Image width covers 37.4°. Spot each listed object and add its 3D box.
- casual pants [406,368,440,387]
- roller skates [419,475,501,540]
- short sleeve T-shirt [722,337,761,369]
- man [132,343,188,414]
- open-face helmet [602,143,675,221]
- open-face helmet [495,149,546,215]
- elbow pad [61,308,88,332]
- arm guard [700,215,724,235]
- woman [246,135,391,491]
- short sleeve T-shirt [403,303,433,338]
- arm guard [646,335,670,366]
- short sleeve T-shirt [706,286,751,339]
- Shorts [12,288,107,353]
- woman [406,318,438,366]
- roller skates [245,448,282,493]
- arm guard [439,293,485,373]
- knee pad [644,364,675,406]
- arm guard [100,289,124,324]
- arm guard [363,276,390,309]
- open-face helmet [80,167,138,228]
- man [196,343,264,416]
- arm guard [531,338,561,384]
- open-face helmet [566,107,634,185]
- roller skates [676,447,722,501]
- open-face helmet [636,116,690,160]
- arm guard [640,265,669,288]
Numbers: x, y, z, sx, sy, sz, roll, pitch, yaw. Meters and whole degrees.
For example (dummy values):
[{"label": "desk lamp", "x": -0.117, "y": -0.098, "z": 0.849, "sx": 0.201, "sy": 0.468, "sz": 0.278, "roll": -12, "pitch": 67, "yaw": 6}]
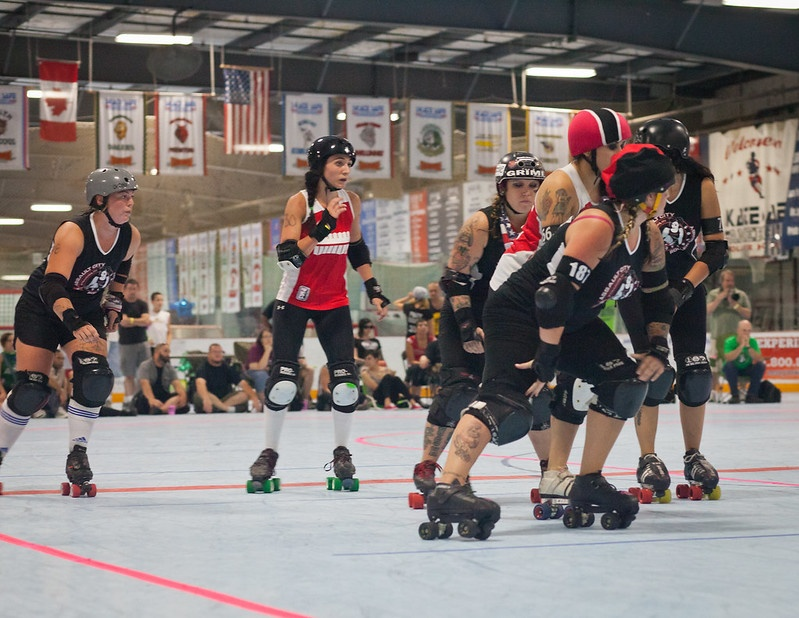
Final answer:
[{"label": "casual pants", "x": 0.328, "y": 1.044, "z": 18.043, "sx": 0.393, "sy": 0.170, "sz": 0.487, "roll": 3, "pitch": -5, "yaw": -15}, {"label": "roller skates", "x": 0.345, "y": 1.215, "z": 7.085, "sx": 0.484, "sy": 0.334, "sz": 0.304, "roll": -2, "pitch": -3, "yaw": 16}, {"label": "short sleeve T-shirt", "x": 5.162, "y": 0.671, "z": 17.903, "sx": 0.527, "sy": 0.465, "sz": 0.265, "roll": -3, "pitch": 4, "yaw": -16}, {"label": "man", "x": -3.486, "y": 1.011, "z": 16.994, "sx": 0.863, "sy": 1.028, "sz": 0.837, "roll": 2, "pitch": 1, "yaw": 18}, {"label": "open-face helmet", "x": 1.440, "y": -0.777, "z": 7.187, "sx": 0.474, "sy": 0.407, "sz": 0.349, "roll": -10, "pitch": 18, "yaw": -13}, {"label": "open-face helmet", "x": 0.823, "y": -0.937, "z": 8.278, "sx": 0.324, "sy": 0.370, "sz": 0.402, "roll": 1, "pitch": -2, "yaw": -16}, {"label": "elbow pad", "x": -2.315, "y": 0.091, "z": 8.377, "sx": 0.152, "sy": 0.175, "sz": 0.070, "roll": -37, "pitch": -10, "yaw": -10}, {"label": "arm guard", "x": 2.305, "y": -0.630, "z": 8.699, "sx": 0.140, "sy": 0.131, "sz": 0.129, "roll": -3, "pitch": 4, "yaw": 13}, {"label": "woman", "x": -0.610, "y": -0.006, "z": 8.942, "sx": 0.705, "sy": 2.670, "sz": 1.197, "roll": 3, "pitch": 2, "yaw": 29}, {"label": "short sleeve T-shirt", "x": 0.300, "y": 0.164, "z": 18.638, "sx": 0.561, "sy": 0.623, "sz": 0.253, "roll": 3, "pitch": -8, "yaw": -8}, {"label": "arm guard", "x": 1.669, "y": 0.266, "z": 7.612, "sx": 0.169, "sy": 0.191, "sz": 0.202, "roll": 3, "pitch": -14, "yaw": -2}, {"label": "short sleeve T-shirt", "x": 5.040, "y": 0.083, "z": 18.175, "sx": 0.857, "sy": 0.914, "sz": 0.519, "roll": -1, "pitch": -7, "yaw": 4}, {"label": "Shorts", "x": -2.561, "y": 0.108, "z": 8.748, "sx": 0.564, "sy": 0.405, "sz": 0.463, "roll": -18, "pitch": -2, "yaw": 37}, {"label": "woman", "x": 0.365, "y": 0.567, "z": 18.349, "sx": 0.602, "sy": 0.822, "sz": 0.576, "roll": -3, "pitch": 11, "yaw": -4}, {"label": "roller skates", "x": -0.982, "y": 1.188, "z": 8.663, "sx": 0.210, "sy": 0.286, "sz": 0.328, "roll": 2, "pitch": 1, "yaw": 13}, {"label": "arm guard", "x": 0.426, "y": 0.197, "z": 8.414, "sx": 0.387, "sy": 0.479, "sz": 0.180, "roll": -3, "pitch": -8, "yaw": -13}, {"label": "knee pad", "x": 1.818, "y": 0.535, "z": 8.260, "sx": 0.250, "sy": 0.313, "sz": 0.098, "roll": 15, "pitch": 26, "yaw": 29}, {"label": "arm guard", "x": -2.214, "y": -0.046, "z": 9.115, "sx": 0.181, "sy": 0.219, "sz": 0.226, "roll": 6, "pitch": -13, "yaw": -29}, {"label": "arm guard", "x": -0.189, "y": -0.122, "z": 9.336, "sx": 0.171, "sy": 0.264, "sz": 0.108, "roll": -28, "pitch": -17, "yaw": 5}, {"label": "open-face helmet", "x": -2.158, "y": -0.883, "z": 8.887, "sx": 0.452, "sy": 0.503, "sz": 0.397, "roll": -6, "pitch": -6, "yaw": 13}, {"label": "man", "x": -2.642, "y": 1.009, "z": 17.132, "sx": 0.860, "sy": 1.058, "sz": 0.864, "roll": 1, "pitch": -7, "yaw": -38}, {"label": "arm guard", "x": 0.883, "y": 0.314, "z": 7.189, "sx": 0.193, "sy": 0.229, "sz": 0.100, "roll": 13, "pitch": 18, "yaw": 22}, {"label": "open-face helmet", "x": 1.207, "y": -1.068, "z": 7.591, "sx": 0.470, "sy": 0.499, "sz": 0.375, "roll": -11, "pitch": 10, "yaw": 16}, {"label": "roller skates", "x": 2.112, "y": 1.189, "z": 8.381, "sx": 0.220, "sy": 0.330, "sz": 0.365, "roll": 1, "pitch": 2, "yaw": -32}, {"label": "open-face helmet", "x": 1.895, "y": -1.226, "z": 8.409, "sx": 0.382, "sy": 0.275, "sz": 0.265, "roll": -5, "pitch": 18, "yaw": -12}, {"label": "arm guard", "x": 1.660, "y": -0.207, "z": 7.743, "sx": 0.153, "sy": 0.153, "sz": 0.154, "roll": -5, "pitch": -5, "yaw": 44}]
